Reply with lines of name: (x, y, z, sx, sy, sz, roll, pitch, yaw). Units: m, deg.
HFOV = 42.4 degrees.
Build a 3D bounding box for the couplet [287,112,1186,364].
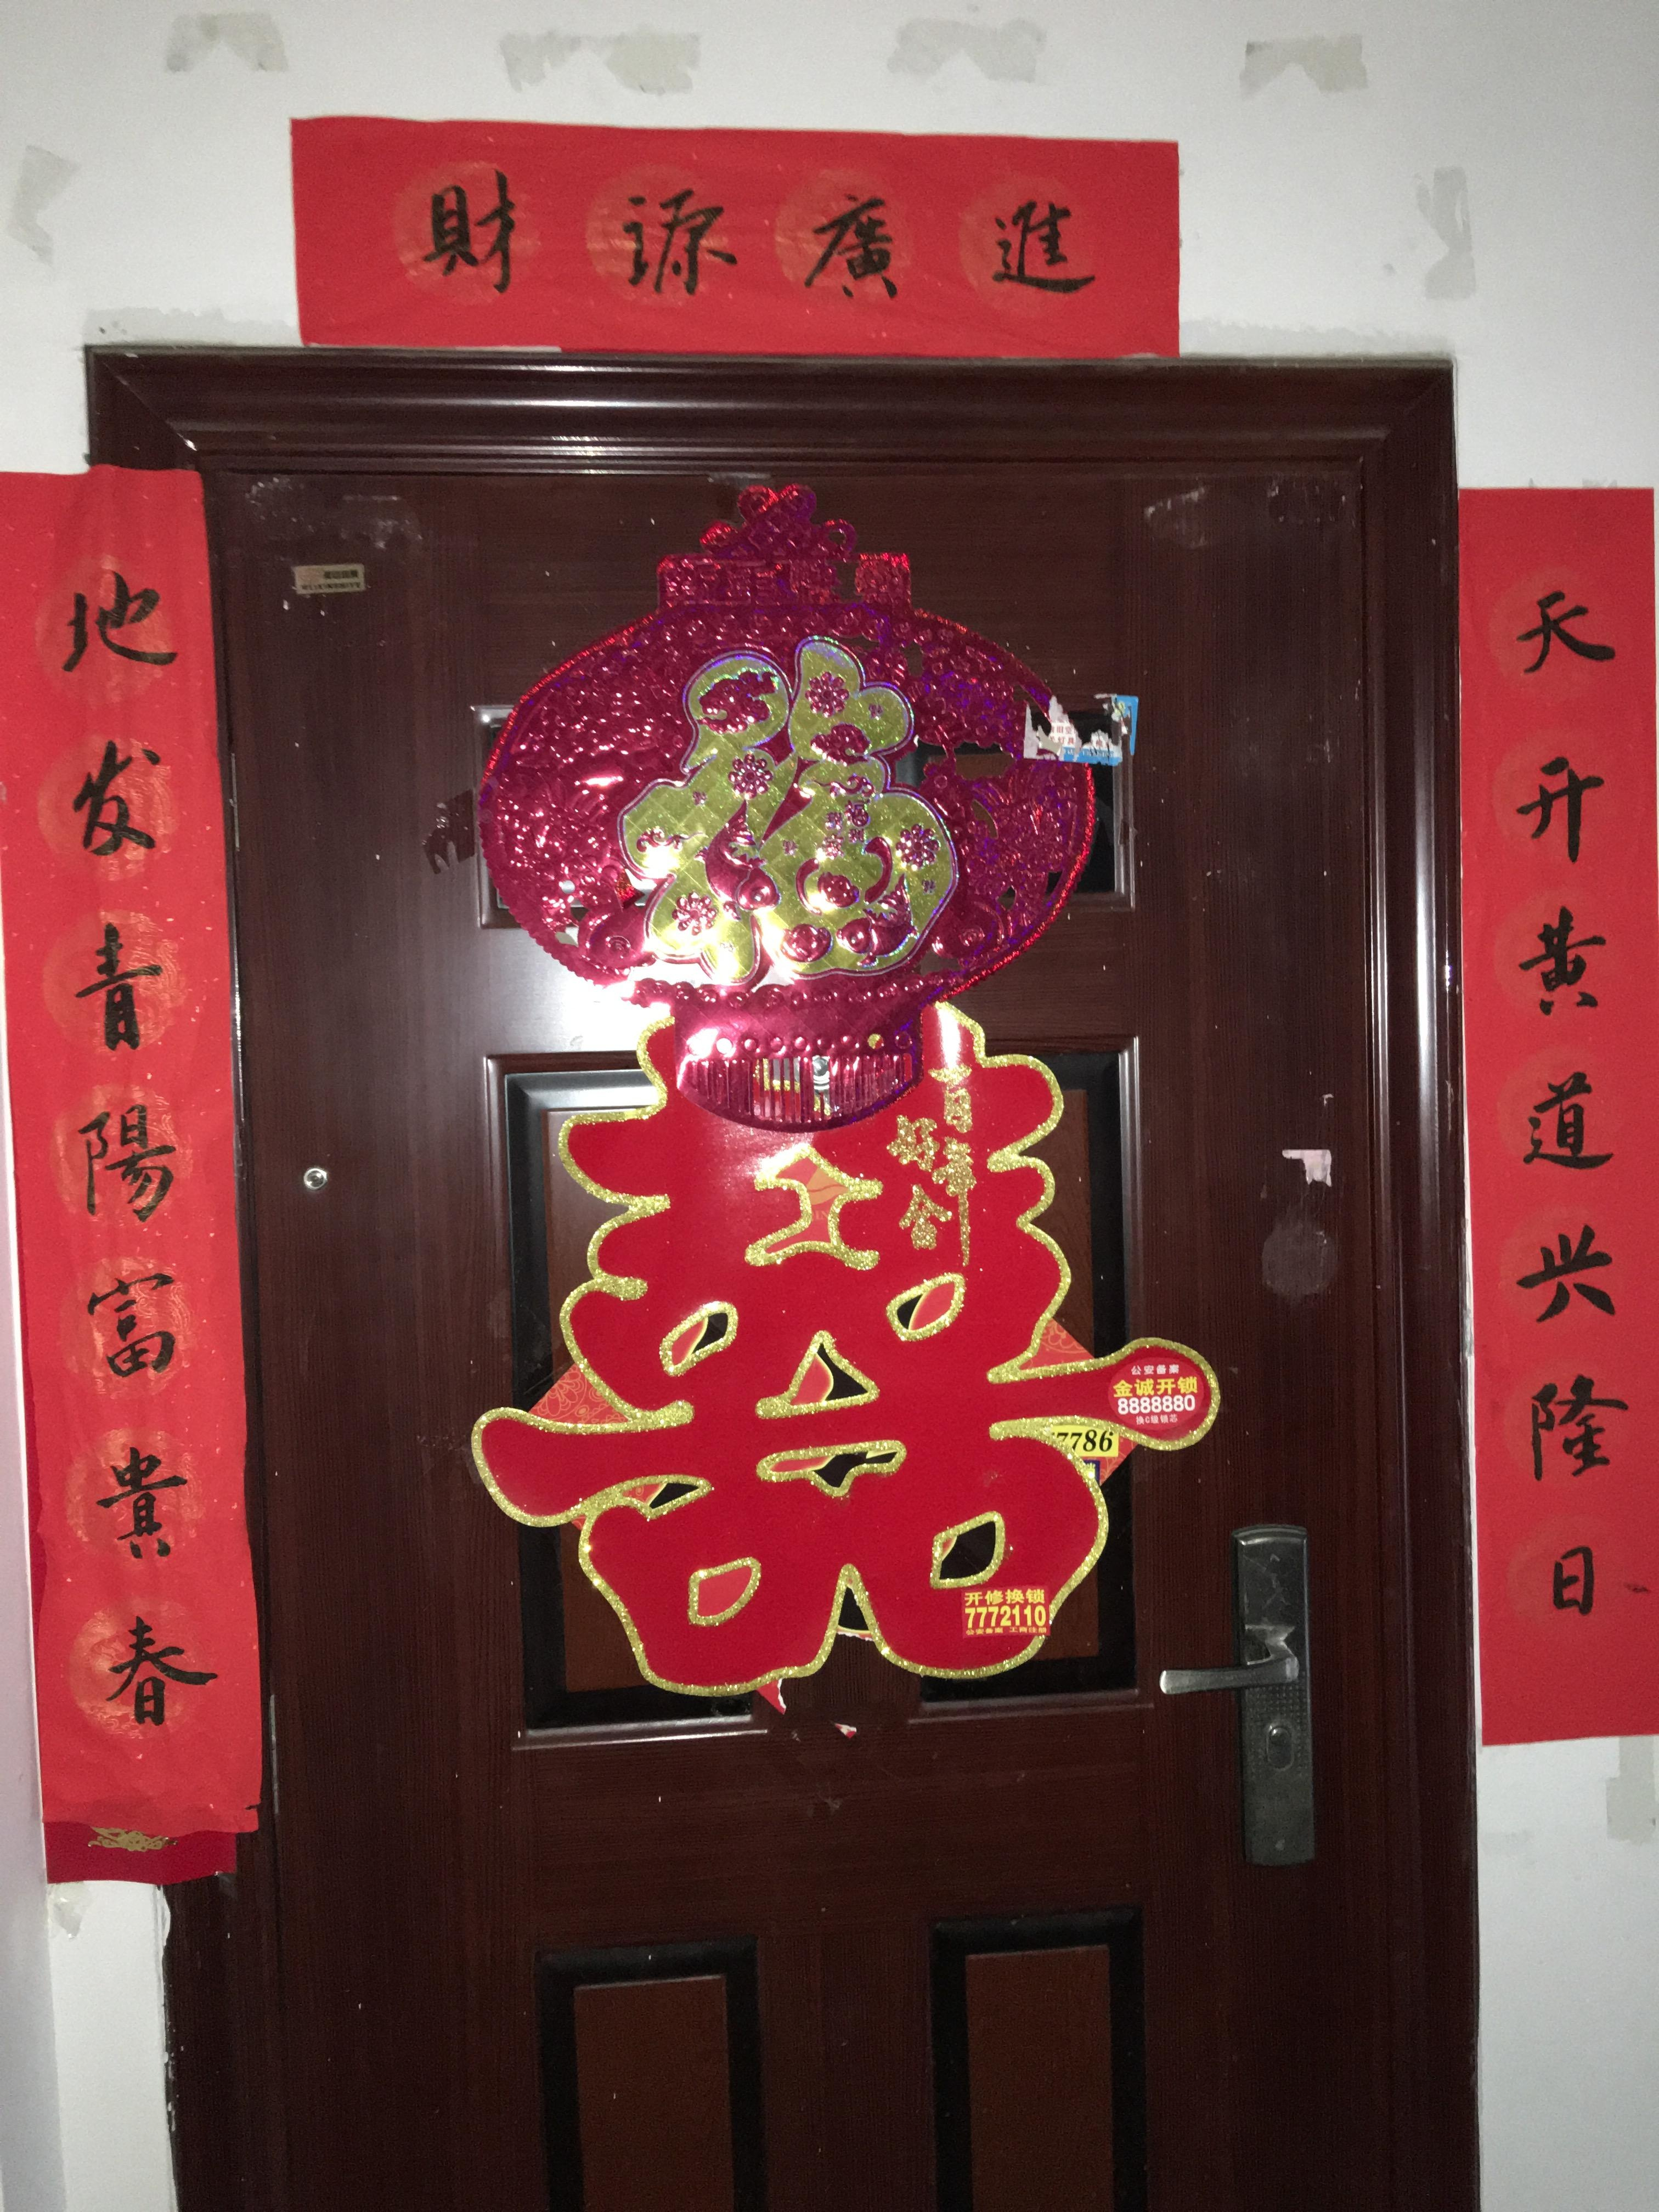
couplet: (-0.057, -0.659, 1.636, 0.661, 0.167, 0.009, -2, 5, -7)
